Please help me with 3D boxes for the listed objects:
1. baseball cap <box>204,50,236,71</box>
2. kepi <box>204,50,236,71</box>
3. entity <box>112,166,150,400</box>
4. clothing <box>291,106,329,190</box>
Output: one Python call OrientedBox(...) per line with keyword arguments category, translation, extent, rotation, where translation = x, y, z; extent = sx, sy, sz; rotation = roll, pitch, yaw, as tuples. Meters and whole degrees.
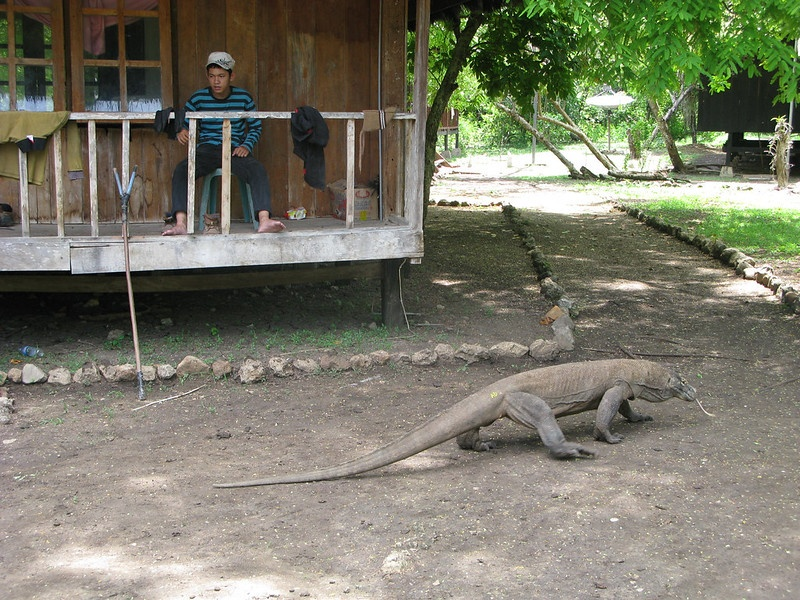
OrientedBox(category="baseball cap", translation=(-2.158, -2.870, 9.932), extent=(0.251, 0.174, 0.338), rotation=(9, -10, 7))
OrientedBox(category="kepi", translation=(-2.191, -2.877, 9.900), extent=(0.285, 0.249, 0.351), rotation=(-2, 9, 4))
OrientedBox(category="entity", translation=(-2.924, -0.217, 8.879), extent=(0.368, 2.550, 0.468), rotation=(-8, -6, -13))
OrientedBox(category="clothing", translation=(-1.090, -1.811, 9.772), extent=(0.430, 0.983, 0.531), rotation=(-3, 9, -7))
